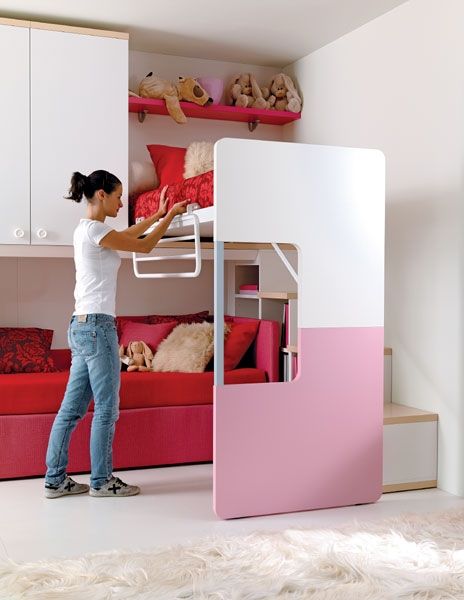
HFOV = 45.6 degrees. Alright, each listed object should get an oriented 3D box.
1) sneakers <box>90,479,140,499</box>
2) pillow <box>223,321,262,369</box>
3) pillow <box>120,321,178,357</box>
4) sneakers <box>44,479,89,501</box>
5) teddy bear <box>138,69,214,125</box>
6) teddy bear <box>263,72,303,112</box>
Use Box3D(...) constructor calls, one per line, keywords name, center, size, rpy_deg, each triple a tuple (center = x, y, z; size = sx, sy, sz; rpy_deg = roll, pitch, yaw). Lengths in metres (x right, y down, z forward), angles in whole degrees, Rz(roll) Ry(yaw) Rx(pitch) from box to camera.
Box3D(name="sneakers", center=(-0.488, 0.780, 2.342), size=(0.221, 0.085, 0.076), rpy_deg=(-1, 0, -9))
Box3D(name="pillow", center=(0.043, 0.234, 3.077), size=(0.081, 0.240, 0.263), rpy_deg=(19, -26, -27))
Box3D(name="pillow", center=(-0.484, 0.178, 3.182), size=(0.217, 0.082, 0.210), rpy_deg=(-4, 40, 22))
Box3D(name="sneakers", center=(-0.690, 0.804, 2.370), size=(0.205, 0.083, 0.069), rpy_deg=(0, 1, -35))
Box3D(name="teddy bear", center=(-0.350, -1.324, 3.453), size=(0.471, 0.191, 0.457), rpy_deg=(18, 41, 9))
Box3D(name="teddy bear", center=(0.329, -1.379, 3.660), size=(0.291, 0.243, 0.154), rpy_deg=(17, 48, 24))
